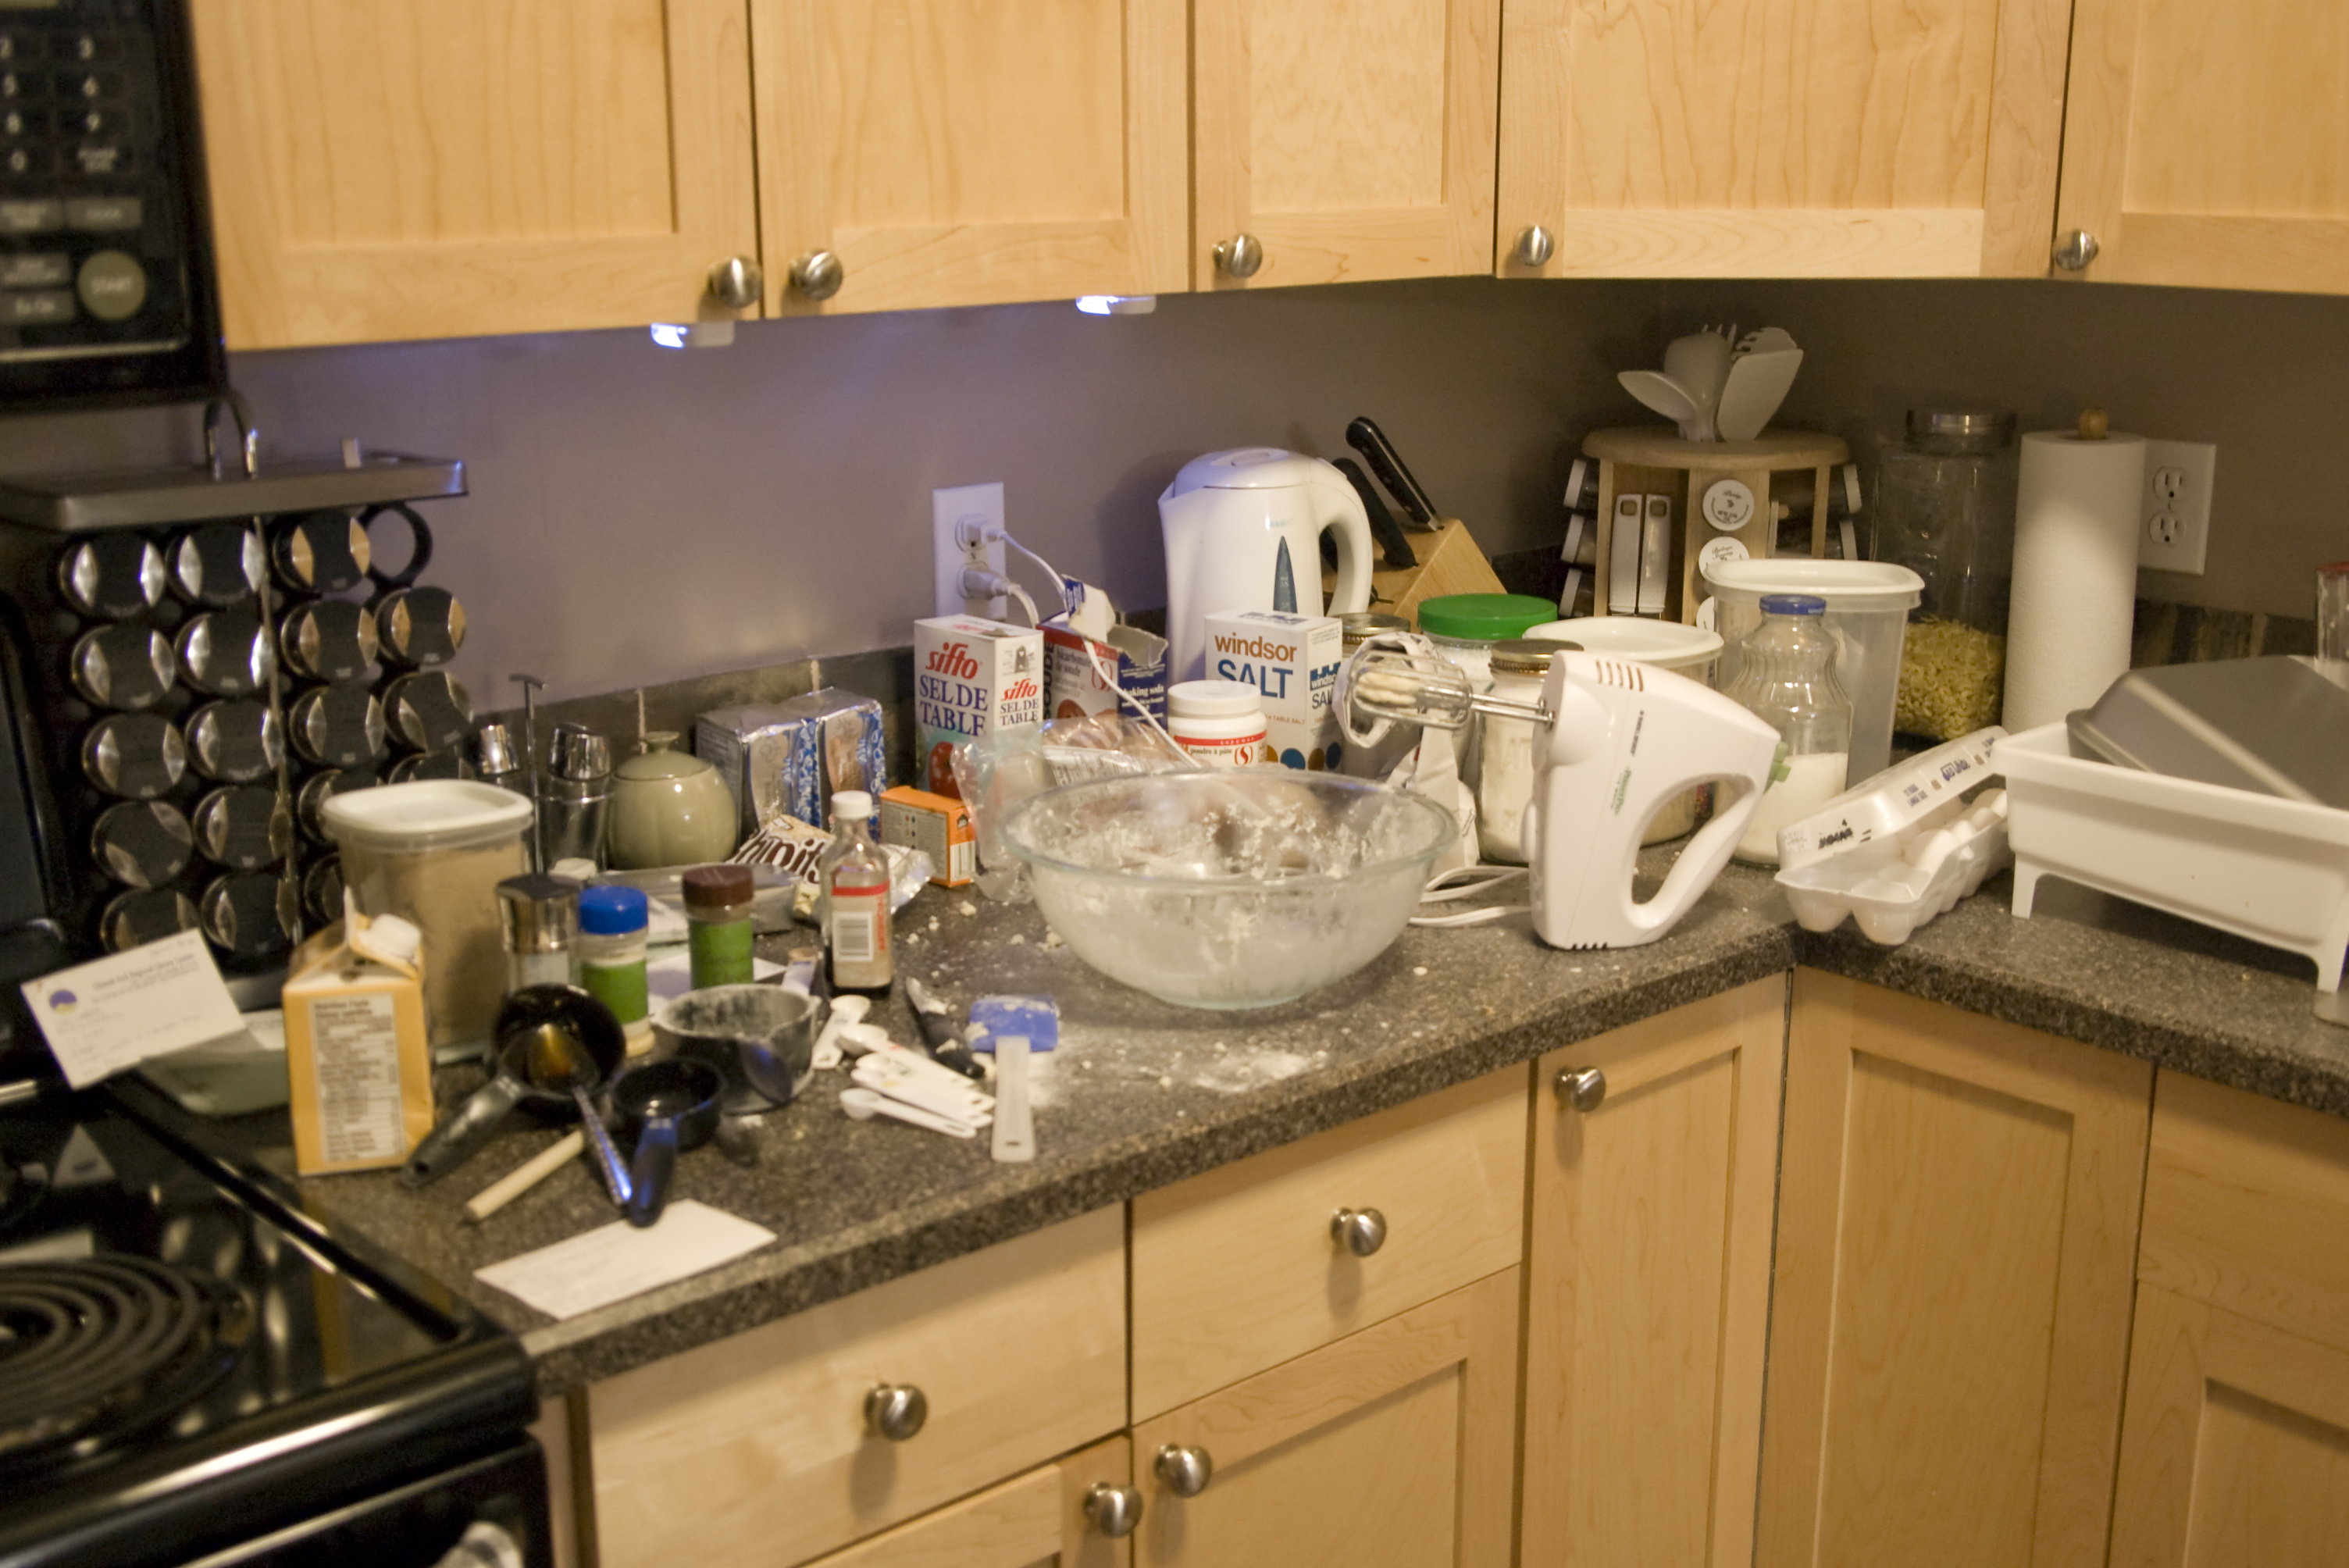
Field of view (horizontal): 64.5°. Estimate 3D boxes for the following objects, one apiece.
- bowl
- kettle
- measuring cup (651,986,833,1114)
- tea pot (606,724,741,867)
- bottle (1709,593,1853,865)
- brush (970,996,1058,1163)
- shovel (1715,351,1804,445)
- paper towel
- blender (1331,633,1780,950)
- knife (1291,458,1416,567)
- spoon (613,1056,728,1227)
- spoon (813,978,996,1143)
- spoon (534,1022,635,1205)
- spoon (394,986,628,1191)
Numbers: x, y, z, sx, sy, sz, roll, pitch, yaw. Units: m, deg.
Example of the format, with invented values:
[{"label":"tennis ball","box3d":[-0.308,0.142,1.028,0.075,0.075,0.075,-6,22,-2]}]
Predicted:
[{"label":"bowl","box3d":[0.057,0.111,1.890,0.444,0.186,0.307,-4,16,-4]},{"label":"kettle","box3d":[0.112,-0.264,2.347,0.277,0.284,0.203,-8,12,-28]},{"label":"measuring cup","box3d":[-0.390,0.227,1.666,0.093,0.052,0.129,-6,18,-26]},{"label":"tea pot","box3d":[-0.561,0.011,2.081,0.126,0.123,0.127,0,7,0]},{"label":"bottle","box3d":[0.711,-0.078,2.200,0.160,0.293,0.168,1,11,0]},{"label":"brush","box3d":[-0.144,0.262,1.639,0.081,0.014,0.170,2,53,-8]},{"label":"shovel","box3d":[0.786,-0.531,2.536,0.097,0.120,0.060,-7,16,-13]},{"label":"paper towel","box3d":[1.111,-0.248,2.309,0.134,0.358,0.091,3,17,21]},{"label":"blender","box3d":[0.404,0.015,1.984,0.481,0.333,0.126,3,20,-11]},{"label":"knife","box3d":[0.230,-0.353,2.403,0.047,0.145,0.146,-19,51,2]},{"label":"spoon","box3d":[-0.439,0.305,1.582,0.062,0.040,0.148,3,39,-4]},{"label":"spoon","box3d":[-0.250,0.250,1.693,0.074,0.029,0.202,-6,17,-31]},{"label":"spoon","box3d":[-0.510,0.276,1.599,0.055,0.038,0.266,-12,47,-17]},{"label":"spoon","box3d":[-0.586,0.245,1.616,0.129,0.080,0.251,-9,18,28]}]
